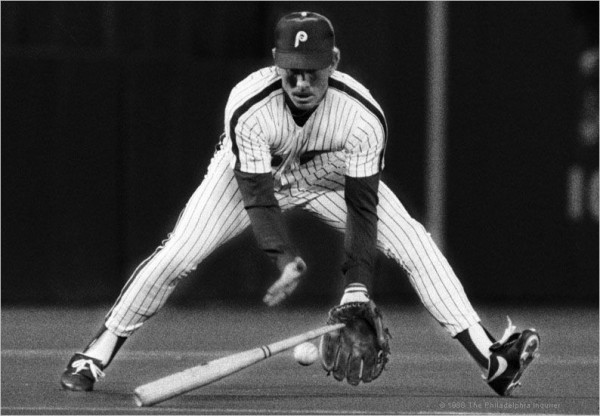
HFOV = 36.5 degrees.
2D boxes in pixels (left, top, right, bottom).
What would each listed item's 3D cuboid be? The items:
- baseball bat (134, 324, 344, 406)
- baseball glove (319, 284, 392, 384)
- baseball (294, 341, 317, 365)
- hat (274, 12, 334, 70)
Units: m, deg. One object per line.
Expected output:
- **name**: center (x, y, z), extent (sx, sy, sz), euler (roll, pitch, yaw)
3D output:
- **baseball bat**: center (-0.455, 1.206, 6.852), extent (1.386, 0.117, 0.192), euler (-17, 18, -19)
- **baseball glove**: center (0.401, 0.913, 6.440), extent (0.537, 0.702, 0.301), euler (1, 2, -9)
- **baseball**: center (0.051, 1.049, 6.582), extent (0.169, 0.170, 0.168), euler (-6, -15, 17)
- **hat**: center (0.032, -1.111, 6.206), extent (0.309, 0.431, 0.238), euler (2, -52, 2)
